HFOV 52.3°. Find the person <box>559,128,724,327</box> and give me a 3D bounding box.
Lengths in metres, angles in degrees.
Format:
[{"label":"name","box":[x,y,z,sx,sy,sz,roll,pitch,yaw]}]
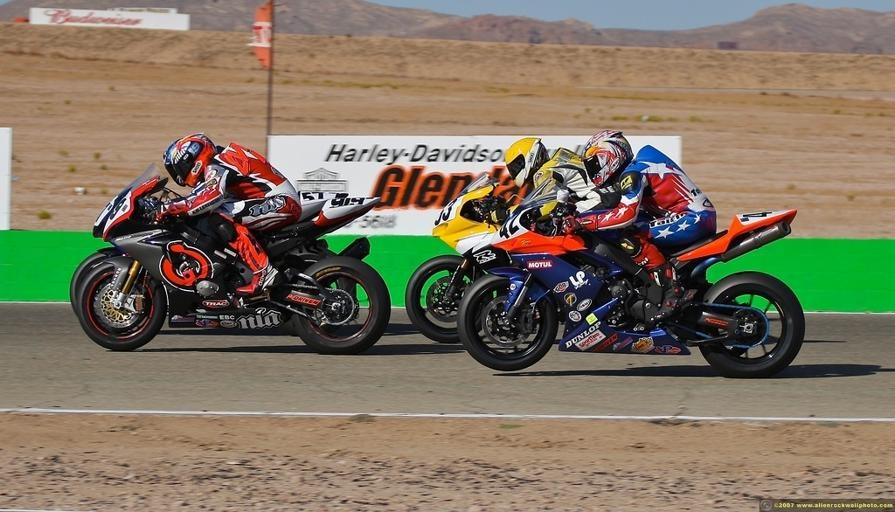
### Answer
[{"label":"person","box":[2.323,-0.361,10.872,1.653,2.245,0.909,3,8,9]}]
